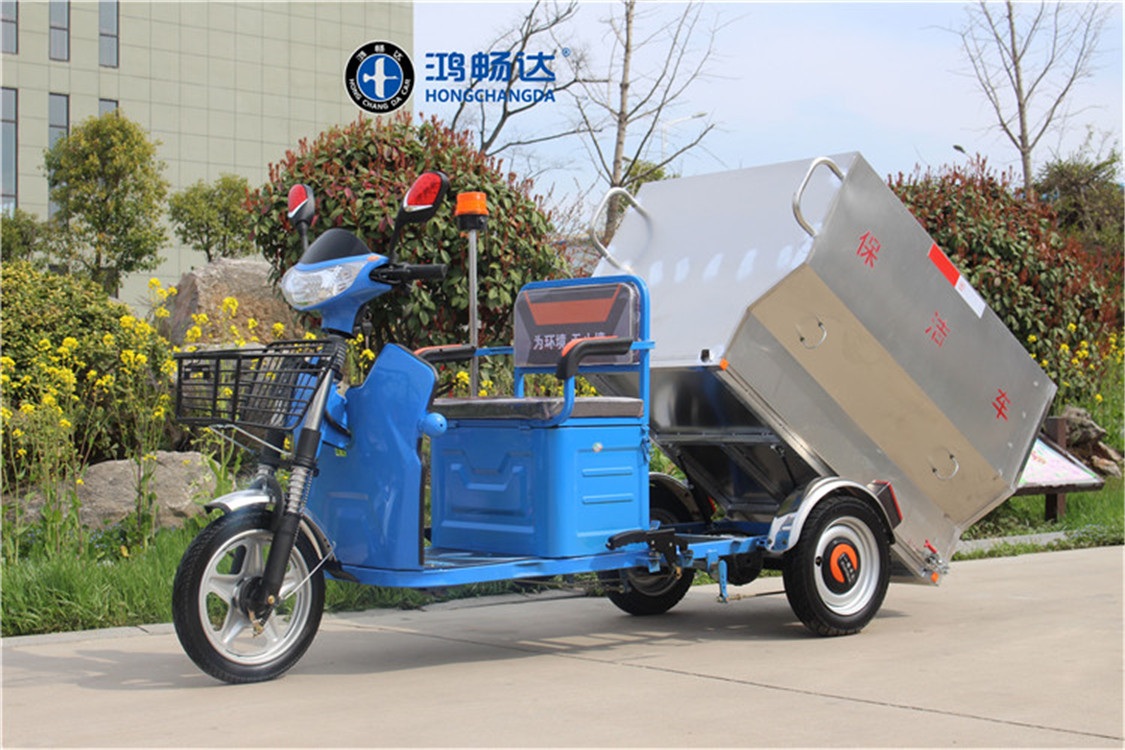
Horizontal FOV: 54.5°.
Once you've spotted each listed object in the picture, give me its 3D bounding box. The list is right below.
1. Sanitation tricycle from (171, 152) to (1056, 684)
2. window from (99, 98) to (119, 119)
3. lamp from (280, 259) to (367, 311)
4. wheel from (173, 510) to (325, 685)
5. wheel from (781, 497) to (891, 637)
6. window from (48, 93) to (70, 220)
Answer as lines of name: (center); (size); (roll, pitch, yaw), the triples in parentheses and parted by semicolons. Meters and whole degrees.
Sanitation tricycle: (0.460, 0.204, 8.507); (6.689, 3.574, 3.074); (2, -2, -34)
window: (-19.320, -11.444, 46.701); (0.807, 0.723, 1.885); (-3, 8, -20)
lamp: (-1.539, -0.574, 7.060); (0.432, 0.209, 0.316); (-29, 14, -16)
wheel: (-1.927, 1.416, 6.837); (0.829, 0.949, 0.169); (20, -18, -36)
wheel: (2.015, 1.393, 8.082); (0.901, 1.081, 0.260); (-4, 6, -32)
window: (-21.217, -9.284, 46.074); (0.089, 5.010, 0.981); (15, 16, 25)
